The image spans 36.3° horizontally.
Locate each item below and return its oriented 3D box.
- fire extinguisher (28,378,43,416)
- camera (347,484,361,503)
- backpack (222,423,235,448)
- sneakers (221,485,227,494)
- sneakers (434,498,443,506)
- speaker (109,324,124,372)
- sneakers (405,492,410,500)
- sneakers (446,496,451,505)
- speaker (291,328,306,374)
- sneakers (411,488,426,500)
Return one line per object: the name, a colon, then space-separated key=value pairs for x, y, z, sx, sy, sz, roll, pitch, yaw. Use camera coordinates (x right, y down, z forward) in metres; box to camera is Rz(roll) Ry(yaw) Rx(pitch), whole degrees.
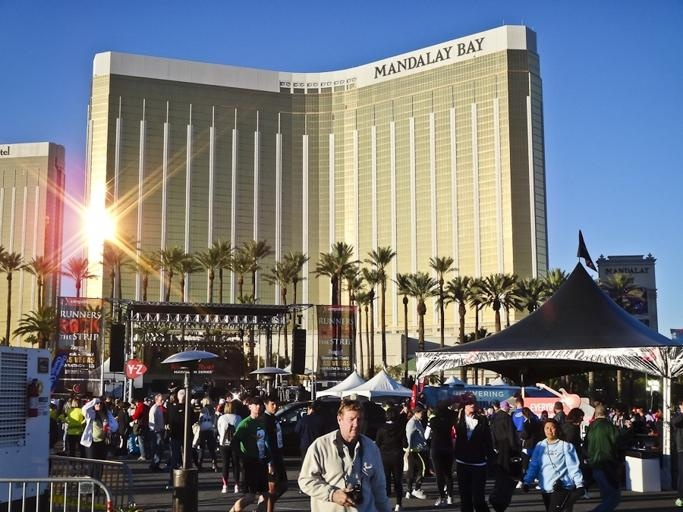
fire extinguisher: x=-7.863 y=3.643 z=26.737 sx=0.183 sy=0.932 sz=0.358 roll=-7 pitch=-10 yaw=35
camera: x=0.293 y=5.178 z=22.666 sx=0.300 sy=0.384 sz=0.096 roll=-2 pitch=-8 yaw=4
backpack: x=-3.294 y=5.217 z=30.563 sx=0.215 sy=0.918 sz=0.593 roll=11 pitch=-10 yaw=-10
sneakers: x=-3.547 y=7.064 z=31.460 sx=0.188 sy=0.227 sz=0.123 roll=1 pitch=-5 yaw=28
sneakers: x=2.814 y=7.132 z=30.193 sx=0.117 sy=0.163 sz=0.384 roll=0 pitch=-25 yaw=4
speaker: x=-10.594 y=4.334 z=49.407 sx=0.617 sy=2.241 sz=1.013 roll=1 pitch=-9 yaw=-18
sneakers: x=2.014 y=7.169 z=31.273 sx=0.161 sy=0.167 sz=0.502 roll=-2 pitch=-9 yaw=3
sneakers: x=3.104 y=7.009 z=29.884 sx=0.175 sy=0.200 sz=0.122 roll=1 pitch=-8 yaw=-3
speaker: x=-2.267 y=5.027 z=55.359 sx=0.697 sy=2.462 sz=1.091 roll=0 pitch=-8 yaw=-7
sneakers: x=2.308 y=7.120 z=31.107 sx=0.408 sy=0.210 sz=0.175 roll=15 pitch=-14 yaw=34
